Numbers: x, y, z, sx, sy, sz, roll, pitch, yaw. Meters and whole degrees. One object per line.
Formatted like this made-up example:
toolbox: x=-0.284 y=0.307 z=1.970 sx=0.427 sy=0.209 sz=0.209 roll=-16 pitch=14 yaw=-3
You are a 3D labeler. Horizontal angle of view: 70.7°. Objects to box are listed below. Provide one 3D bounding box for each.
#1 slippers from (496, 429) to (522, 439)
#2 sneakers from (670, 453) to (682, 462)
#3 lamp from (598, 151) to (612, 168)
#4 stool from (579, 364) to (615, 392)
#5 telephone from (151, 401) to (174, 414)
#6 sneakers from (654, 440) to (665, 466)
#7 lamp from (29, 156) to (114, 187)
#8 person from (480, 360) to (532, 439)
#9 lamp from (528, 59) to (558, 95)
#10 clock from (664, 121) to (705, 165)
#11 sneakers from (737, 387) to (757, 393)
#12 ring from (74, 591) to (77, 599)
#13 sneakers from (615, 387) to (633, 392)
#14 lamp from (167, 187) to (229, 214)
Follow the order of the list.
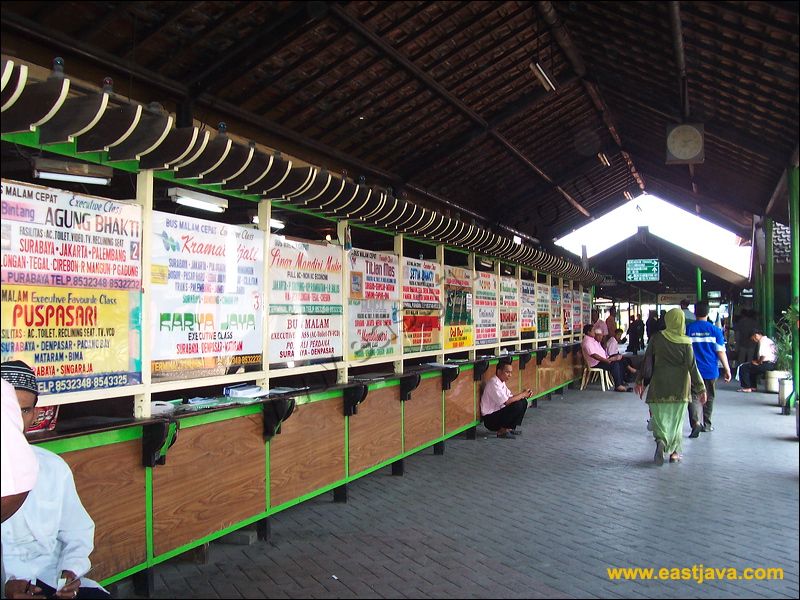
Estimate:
slippers: x=1.825 y=2.145 z=9.130 sx=0.480 sy=0.119 sz=0.269 roll=0 pitch=-2 yaw=-28
sneakers: x=3.630 y=2.070 z=7.446 sx=0.066 sy=0.116 sz=0.208 roll=2 pitch=5 yaw=38
lamp: x=5.649 y=-3.908 z=15.550 sx=0.129 sy=0.348 sz=0.504 roll=-29 pitch=-16 yaw=8
stool: x=5.677 y=2.256 z=16.181 sx=0.811 sy=0.605 sz=0.840 roll=-3 pitch=-4 yaw=35
telephone: x=-1.826 y=0.824 z=4.356 sx=0.092 sy=0.042 sz=0.121 roll=1 pitch=-2 yaw=5
sneakers: x=3.378 y=1.984 z=7.349 sx=0.137 sy=0.310 sz=0.134 roll=0 pitch=-9 yaw=23
lamp: x=-2.343 y=-0.915 z=4.030 sx=0.160 sy=0.166 sz=0.529 roll=-2 pitch=-2 yaw=40
person: x=1.800 y=1.641 z=9.506 sx=0.773 sy=1.193 sz=1.001 roll=-1 pitch=-2 yaw=19
lamp: x=2.241 y=-3.530 z=8.787 sx=0.221 sy=0.307 sz=0.807 roll=-2 pitch=-2 yaw=29
clock: x=4.700 y=-2.612 z=9.320 sx=0.539 sy=0.714 sz=0.383 roll=-1 pitch=-2 yaw=21
sneakers: x=8.840 y=2.291 z=14.351 sx=0.384 sy=0.146 sz=0.146 roll=5 pitch=-6 yaw=-5
ring: x=-1.720 y=1.564 z=2.997 sx=0.012 sy=0.031 sz=0.023 roll=5 pitch=-15 yaw=-6
sneakers: x=5.917 y=2.361 z=14.971 sx=0.464 sy=0.180 sz=0.144 roll=-2 pitch=-4 yaw=19
lamp: x=-1.713 y=-0.847 z=4.791 sx=0.225 sy=0.155 sz=0.529 roll=-2 pitch=-2 yaw=39
